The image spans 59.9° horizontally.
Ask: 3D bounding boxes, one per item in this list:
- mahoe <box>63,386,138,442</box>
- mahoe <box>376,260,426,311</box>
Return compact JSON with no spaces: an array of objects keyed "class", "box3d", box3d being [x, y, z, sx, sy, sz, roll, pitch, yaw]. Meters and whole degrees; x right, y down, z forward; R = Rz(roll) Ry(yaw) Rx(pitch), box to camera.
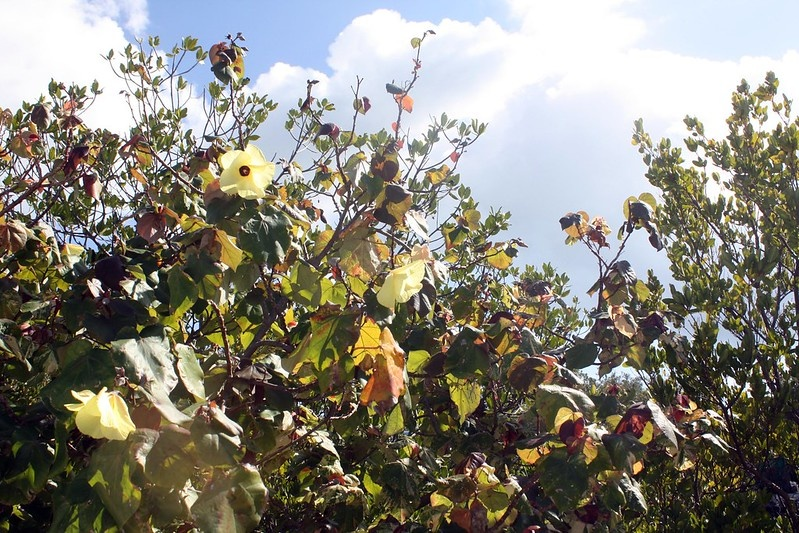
[{"class":"mahoe","box3d":[-1.646,0.839,3.856,0.313,0.320,0.188,32,-83,-41]},{"class":"mahoe","box3d":[-0.002,0.115,4.192,0.112,0.281,0.281,34,-42,15]}]
